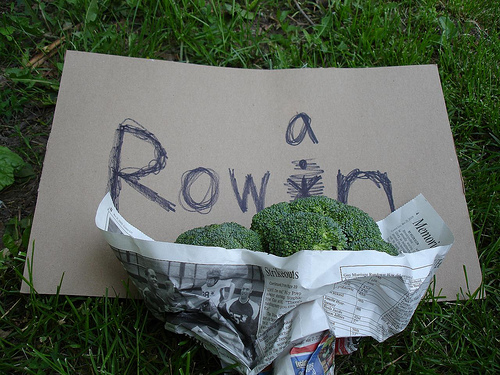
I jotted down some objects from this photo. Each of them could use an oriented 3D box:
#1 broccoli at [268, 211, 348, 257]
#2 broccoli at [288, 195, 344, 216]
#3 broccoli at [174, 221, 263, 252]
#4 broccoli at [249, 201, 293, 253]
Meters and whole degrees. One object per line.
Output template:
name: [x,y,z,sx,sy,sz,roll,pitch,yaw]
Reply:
broccoli: [0.143,0.093,1.062,0.122,0.060,0.114,-3,17,-12]
broccoli: [0.165,0.041,1.127,0.075,0.029,0.067,0,17,2]
broccoli: [-0.066,0.113,1.077,0.125,0.044,0.103,3,31,6]
broccoli: [0.048,0.090,1.105,0.085,0.124,0.063,-3,-32,21]
